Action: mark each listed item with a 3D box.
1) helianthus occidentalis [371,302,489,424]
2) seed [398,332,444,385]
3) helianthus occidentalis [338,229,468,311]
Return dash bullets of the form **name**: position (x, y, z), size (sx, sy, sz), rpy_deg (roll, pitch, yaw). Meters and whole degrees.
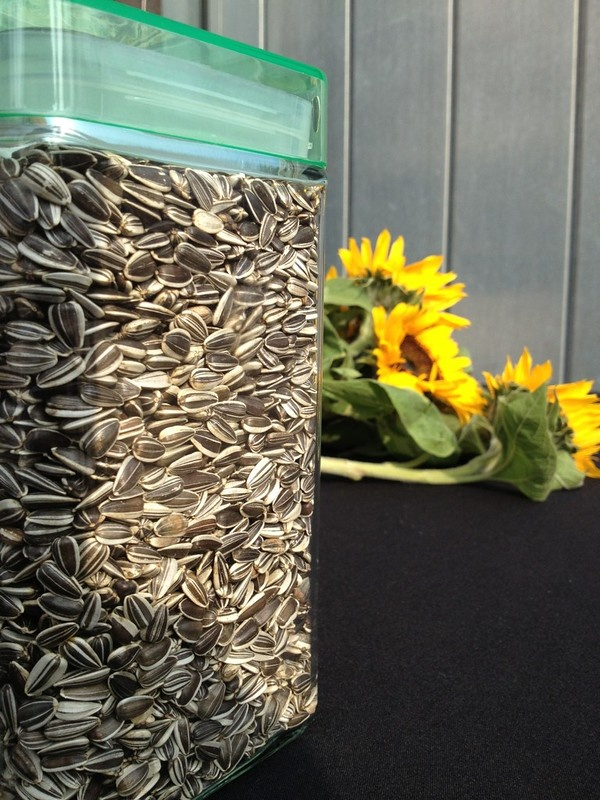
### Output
- **helianthus occidentalis**: position (0.096, -0.028, 0.578), size (0.087, 0.090, 0.068), rpy_deg (3, 14, 17)
- **seed**: position (0.090, -0.033, 0.591), size (0.011, 0.035, 0.028), rpy_deg (-39, -12, 5)
- **helianthus occidentalis**: position (0.071, -0.113, 0.633), size (0.099, 0.034, 0.090), rpy_deg (7, 13, -3)
